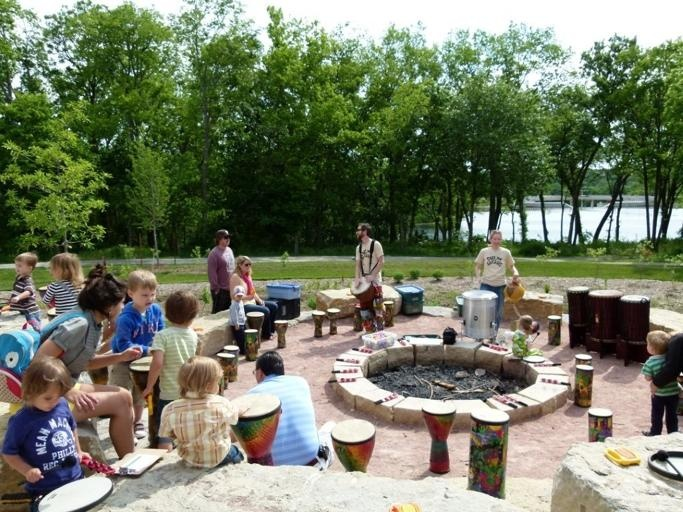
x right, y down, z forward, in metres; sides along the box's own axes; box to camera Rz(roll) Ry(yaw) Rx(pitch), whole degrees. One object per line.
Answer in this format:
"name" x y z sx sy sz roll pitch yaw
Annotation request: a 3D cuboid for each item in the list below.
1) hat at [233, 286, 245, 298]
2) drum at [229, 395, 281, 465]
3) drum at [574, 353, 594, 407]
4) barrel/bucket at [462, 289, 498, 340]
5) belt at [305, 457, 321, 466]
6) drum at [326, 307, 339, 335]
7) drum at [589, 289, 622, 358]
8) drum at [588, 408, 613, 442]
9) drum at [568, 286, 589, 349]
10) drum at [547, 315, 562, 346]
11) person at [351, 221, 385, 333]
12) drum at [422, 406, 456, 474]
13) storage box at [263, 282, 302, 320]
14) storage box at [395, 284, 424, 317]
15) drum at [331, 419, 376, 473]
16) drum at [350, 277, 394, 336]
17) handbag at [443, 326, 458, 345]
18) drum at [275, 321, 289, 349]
"hat" -2.005 0.712 12.545 0.151 0.239 0.231 -1 26 -29
"drum" -1.023 2.096 7.593 0.594 0.945 0.584 -1 13 0
"drum" 4.145 2.105 10.611 0.282 0.784 0.560 1 4 20
"barrel/bucket" 2.750 1.152 12.610 0.812 0.835 0.802 -1 1 0
"belt" -0.340 2.550 7.872 0.140 0.077 0.231 2 3 26
"drum" -0.168 1.486 14.613 0.240 0.556 0.656 0 3 -1
"drum" 5.311 1.348 12.522 0.607 1.290 0.471 2 4 25
"drum" 3.757 2.457 8.998 0.325 0.490 0.470 1 4 21
"drum" 5.034 1.298 13.177 0.433 1.246 0.341 2 4 22
"drum" 4.681 1.597 13.564 0.267 0.626 0.382 1 4 17
"person" 0.628 0.515 13.531 0.662 2.361 0.724 0 4 2
"drum" 1.409 2.541 8.868 0.443 0.920 0.440 0 4 0
"storage box" -1.423 0.987 15.418 0.814 1.013 0.909 -4 8 -28
"storage box" 1.768 1.132 15.957 0.540 0.556 0.764 -3 5 -20
"drum" 0.174 2.469 8.163 0.560 0.560 0.543 3 4 39
"drum" 0.697 1.168 13.960 0.865 1.479 0.826 -6 18 2
"handbag" 2.178 1.577 12.518 0.315 0.340 0.247 -3 7 0
"drum" -1.258 1.651 13.393 0.244 0.563 0.440 0 3 -6
